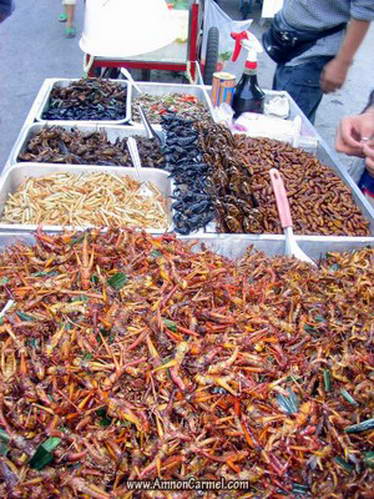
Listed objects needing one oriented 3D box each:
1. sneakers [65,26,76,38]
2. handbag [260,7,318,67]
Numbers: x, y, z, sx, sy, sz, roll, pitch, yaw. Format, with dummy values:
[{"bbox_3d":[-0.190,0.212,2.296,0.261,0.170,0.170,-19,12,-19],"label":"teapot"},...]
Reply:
[{"bbox_3d":[-2.583,-4.795,8.865,0.122,0.143,0.339,-4,45,-6],"label":"sneakers"},{"bbox_3d":[1.020,-2.222,4.170,0.590,0.486,0.386,-1,68,3],"label":"handbag"}]
